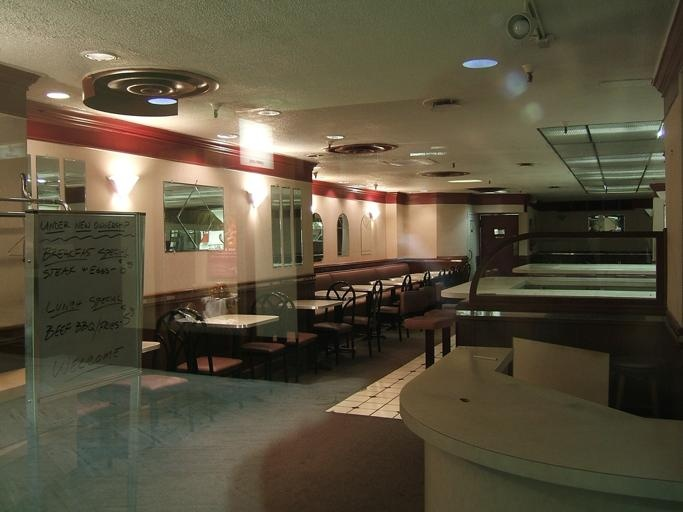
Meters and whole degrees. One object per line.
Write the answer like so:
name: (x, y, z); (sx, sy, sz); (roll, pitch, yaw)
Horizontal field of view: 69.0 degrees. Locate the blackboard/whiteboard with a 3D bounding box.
blackboard/whiteboard: (-1.129, 0.185, 2.204); (0.520, 0.771, 0.239); (-5, 13, -19)
